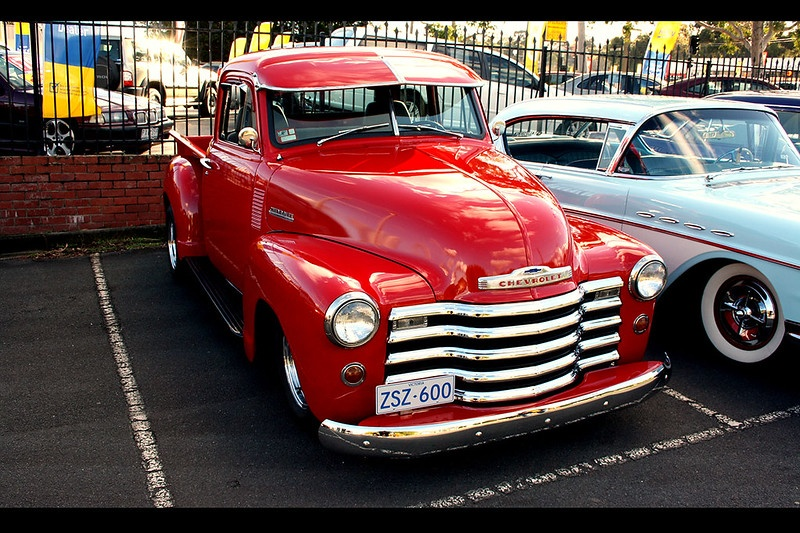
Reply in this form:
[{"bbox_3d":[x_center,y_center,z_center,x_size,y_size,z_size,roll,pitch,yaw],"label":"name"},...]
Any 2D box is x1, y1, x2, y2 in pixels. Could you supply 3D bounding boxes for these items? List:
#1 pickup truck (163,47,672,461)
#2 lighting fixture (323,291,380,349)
[{"bbox_3d":[-0.573,-0.896,6.048,3.360,2.624,6.317,-8,24,-30],"label":"pickup truck"},{"bbox_3d":[-0.290,0.330,3.392,0.336,0.363,0.130,-7,19,-21],"label":"lighting fixture"}]
